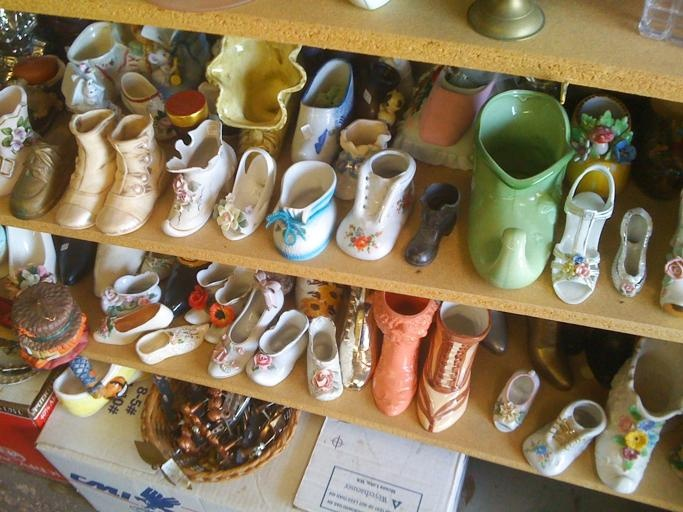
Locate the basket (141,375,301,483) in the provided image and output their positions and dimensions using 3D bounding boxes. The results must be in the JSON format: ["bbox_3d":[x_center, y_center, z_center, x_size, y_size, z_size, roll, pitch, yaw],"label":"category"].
[{"bbox_3d":[-0.360,0.512,1.658,0.334,0.104,0.337,-20,43,-24],"label":"basket"}]
